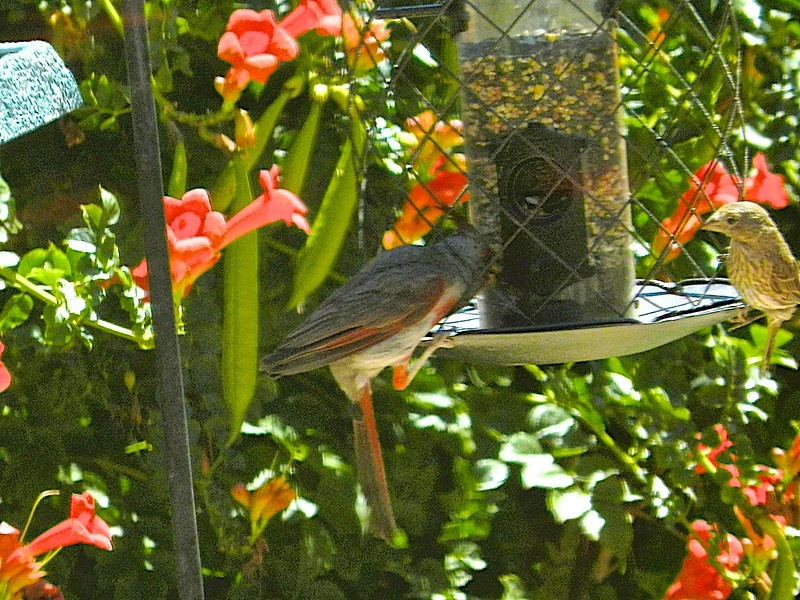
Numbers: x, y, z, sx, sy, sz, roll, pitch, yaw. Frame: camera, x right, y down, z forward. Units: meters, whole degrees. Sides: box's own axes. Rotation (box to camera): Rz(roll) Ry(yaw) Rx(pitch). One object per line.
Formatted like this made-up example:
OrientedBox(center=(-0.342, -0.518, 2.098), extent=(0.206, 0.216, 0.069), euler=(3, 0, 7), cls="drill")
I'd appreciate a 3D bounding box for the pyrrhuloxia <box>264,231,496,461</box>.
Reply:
OrientedBox(center=(-0.020, -0.002, 1.766), extent=(0.322, 0.251, 0.137), euler=(-4, 17, 3), cls="pyrrhuloxia")
